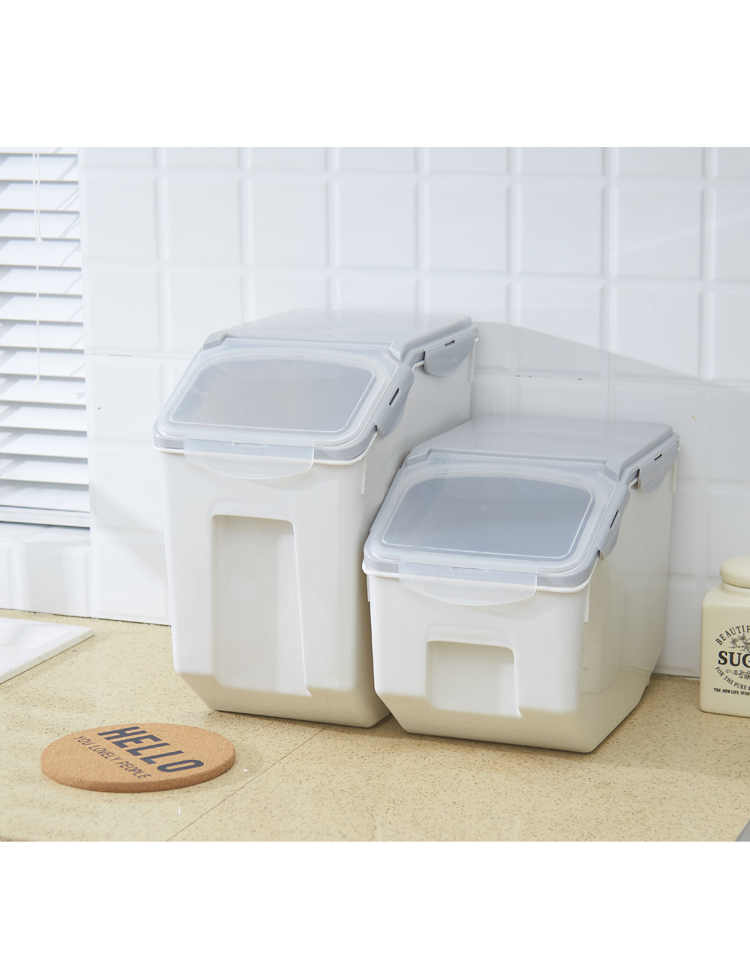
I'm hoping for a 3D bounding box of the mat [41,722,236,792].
[{"bbox_3d":[-0.365,0.417,1.596,0.297,0.023,0.259,3,8,21],"label":"mat"}]

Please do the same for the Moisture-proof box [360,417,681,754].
[{"bbox_3d":[0.209,0.131,1.742,0.462,0.377,0.603,2,12,24],"label":"Moisture-proof box"}]

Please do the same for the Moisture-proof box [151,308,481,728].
[{"bbox_3d":[-0.014,0.122,1.833,0.424,0.527,0.648,5,2,35],"label":"Moisture-proof box"}]
